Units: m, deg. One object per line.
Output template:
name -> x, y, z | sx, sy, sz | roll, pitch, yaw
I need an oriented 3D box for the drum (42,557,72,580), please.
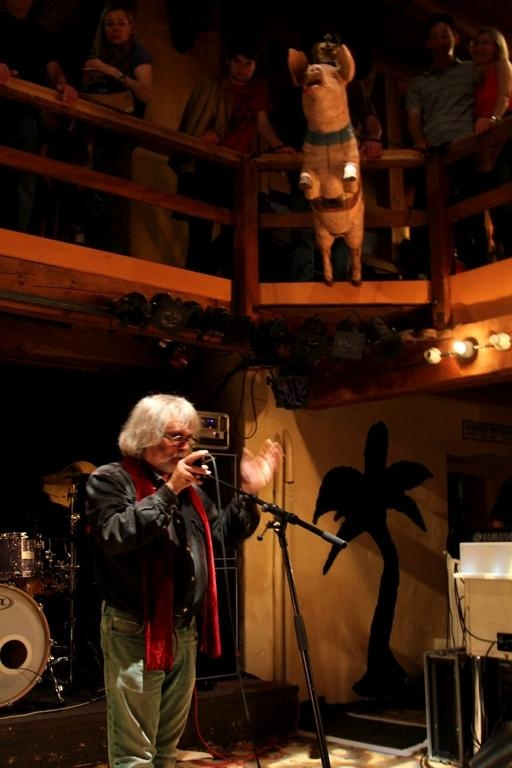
drum -> -1.294, 1.208, 4.879 | 0.175, 0.129, 0.149 | 1, -11, -9

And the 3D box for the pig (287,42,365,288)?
pig -> 0.451, -1.146, 4.264 | 0.373, 0.525, 1.388 | -2, -45, 10

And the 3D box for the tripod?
tripod -> -1.167, 1.496, 5.070 | 0.450, 1.810, 0.558 | 2, -2, -18
